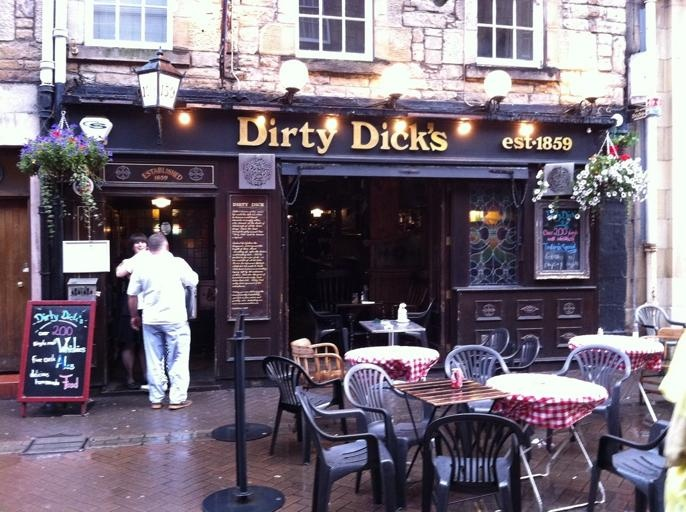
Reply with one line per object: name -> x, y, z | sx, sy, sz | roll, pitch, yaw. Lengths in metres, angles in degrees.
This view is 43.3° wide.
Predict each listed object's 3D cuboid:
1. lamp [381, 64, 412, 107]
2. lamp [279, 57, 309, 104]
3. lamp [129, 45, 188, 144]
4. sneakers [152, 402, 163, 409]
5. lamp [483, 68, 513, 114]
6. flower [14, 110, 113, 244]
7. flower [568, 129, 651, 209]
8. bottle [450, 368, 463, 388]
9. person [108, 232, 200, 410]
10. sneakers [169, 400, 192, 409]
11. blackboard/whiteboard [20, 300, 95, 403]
lamp -> 0.800, -2.587, 13.201 | 0.372, 0.621, 0.470 | -1, 4, -4
lamp -> -0.775, -2.604, 12.882 | 0.379, 0.634, 0.477 | -3, 4, -24
lamp -> -2.606, -2.312, 12.333 | 0.559, 1.132, 0.514 | -2, 10, -5
sneakers -> -2.607, 2.096, 12.077 | 0.159, 0.073, 0.141 | -2, 4, -15
lamp -> 2.375, -2.532, 13.360 | 0.346, 0.638, 0.343 | -2, 4, -18
flower -> -3.960, -1.385, 12.228 | 0.971, 1.080, 0.906 | -6, 7, 1
flower -> 4.193, -1.315, 13.570 | 1.145, 1.242, 2.072 | 0, 4, 19
bottle -> 1.318, 1.398, 9.884 | 0.200, 0.283, 0.209 | -1, 0, 0
person -> -2.605, 0.909, 12.252 | 0.874, 2.423, 0.619 | 0, 4, 17
sneakers -> -2.279, 2.098, 12.154 | 0.331, 0.121, 0.110 | -3, 6, -41
blackboard/whiteboard -> -3.960, 1.325, 11.939 | 0.986, 1.382, 0.471 | -1, 4, -4
